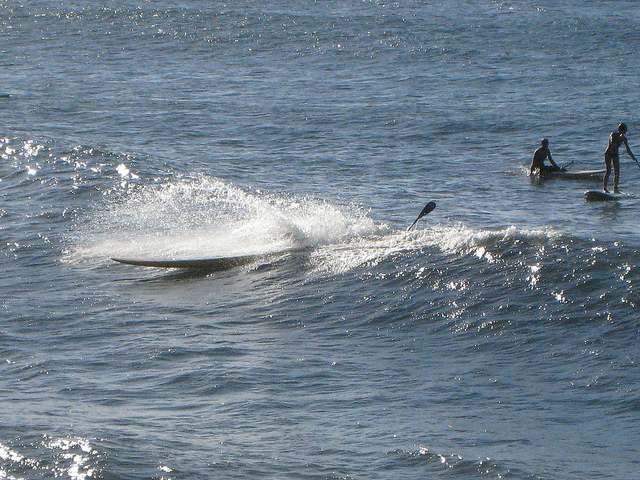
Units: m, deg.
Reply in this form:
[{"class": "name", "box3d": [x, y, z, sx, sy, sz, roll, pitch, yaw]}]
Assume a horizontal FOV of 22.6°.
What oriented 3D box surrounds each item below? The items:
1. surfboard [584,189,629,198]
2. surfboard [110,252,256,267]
[{"class": "surfboard", "box3d": [7.717, -1.265, 42.927, 1.191, 0.222, 0.416, -7, 22, -16]}, {"class": "surfboard", "box3d": [-3.192, 0.467, 38.875, 3.265, 0.241, 0.676, -2, 21, -3]}]
